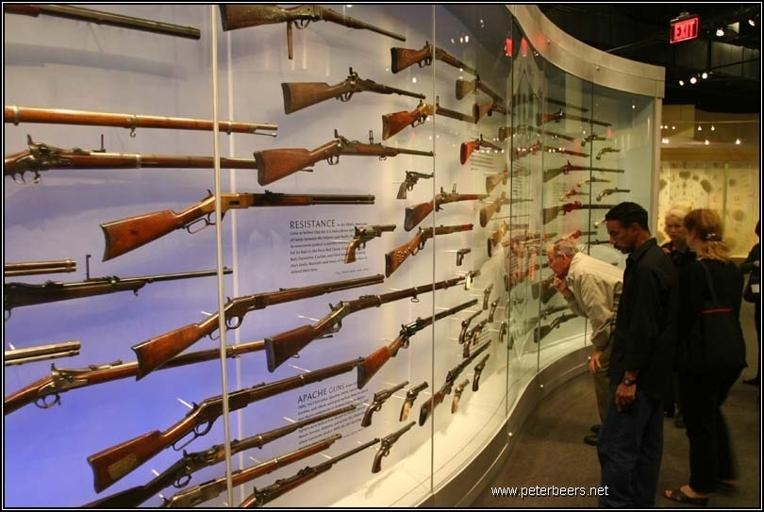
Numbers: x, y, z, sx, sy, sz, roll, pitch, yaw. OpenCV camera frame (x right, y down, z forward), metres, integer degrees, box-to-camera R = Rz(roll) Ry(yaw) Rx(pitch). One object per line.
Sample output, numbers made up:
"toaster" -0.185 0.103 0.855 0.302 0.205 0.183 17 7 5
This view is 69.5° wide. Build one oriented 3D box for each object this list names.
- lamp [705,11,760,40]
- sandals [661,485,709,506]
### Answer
"lamp" 3.791 -2.494 5.937 0.297 0.111 0.241 -9 -2 31
"sandals" 3.067 2.401 5.566 0.350 0.109 0.160 -2 -7 42
